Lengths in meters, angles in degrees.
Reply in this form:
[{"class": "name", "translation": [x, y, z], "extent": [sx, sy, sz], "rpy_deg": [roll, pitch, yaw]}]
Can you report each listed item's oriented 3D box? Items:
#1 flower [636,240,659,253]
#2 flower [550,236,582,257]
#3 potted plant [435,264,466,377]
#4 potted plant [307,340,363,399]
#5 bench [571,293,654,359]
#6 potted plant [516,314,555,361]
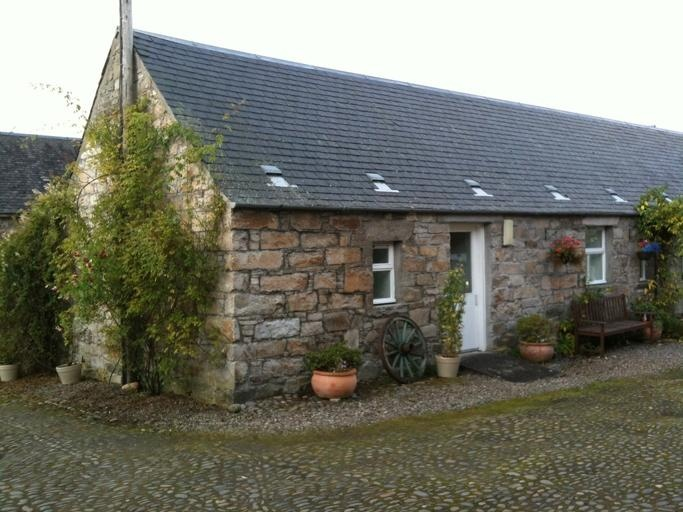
[{"class": "flower", "translation": [7.287, -0.246, 14.105], "extent": [0.345, 0.284, 0.351], "rpy_deg": [6, 7, 35]}, {"class": "flower", "translation": [4.701, -0.237, 12.478], "extent": [0.511, 0.450, 0.517], "rpy_deg": [4, 9, 33]}, {"class": "potted plant", "translation": [1.980, 1.132, 10.843], "extent": [0.562, 1.910, 1.042], "rpy_deg": [-2, 3, 10]}, {"class": "potted plant", "translation": [-0.129, 1.791, 9.477], "extent": [0.946, 0.778, 0.739], "rpy_deg": [1, -2, -7]}, {"class": "bench", "translation": [5.765, 1.336, 12.869], "extent": [2.270, 1.012, 0.796], "rpy_deg": [-5, 4, -40]}, {"class": "potted plant", "translation": [3.881, 1.614, 11.805], "extent": [0.752, 0.920, 0.824], "rpy_deg": [-2, 0, 36]}]
